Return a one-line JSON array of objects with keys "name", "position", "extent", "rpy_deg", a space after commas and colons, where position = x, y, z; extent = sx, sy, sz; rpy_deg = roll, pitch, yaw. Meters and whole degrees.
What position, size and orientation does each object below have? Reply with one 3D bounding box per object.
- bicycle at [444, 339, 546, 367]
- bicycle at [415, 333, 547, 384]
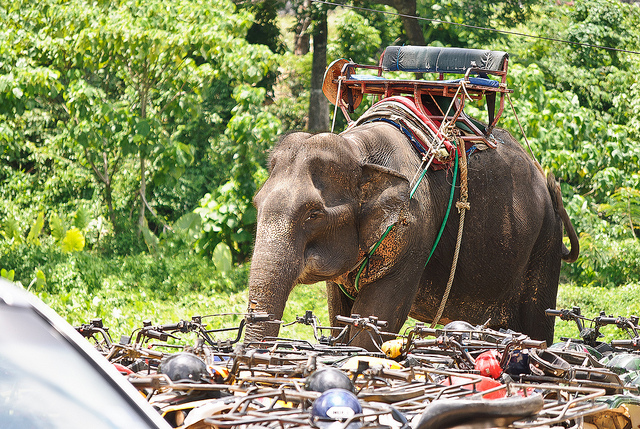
[{"name": "bicycle", "position": [1.767, 1.351, 13.172], "extent": [0.991, 0.290, 0.284], "rpy_deg": [-9, -1, 4]}, {"name": "bicycle", "position": [1.663, 1.403, 12.932], "extent": [0.648, 0.323, 0.659], "rpy_deg": [3, 3, -3]}]
